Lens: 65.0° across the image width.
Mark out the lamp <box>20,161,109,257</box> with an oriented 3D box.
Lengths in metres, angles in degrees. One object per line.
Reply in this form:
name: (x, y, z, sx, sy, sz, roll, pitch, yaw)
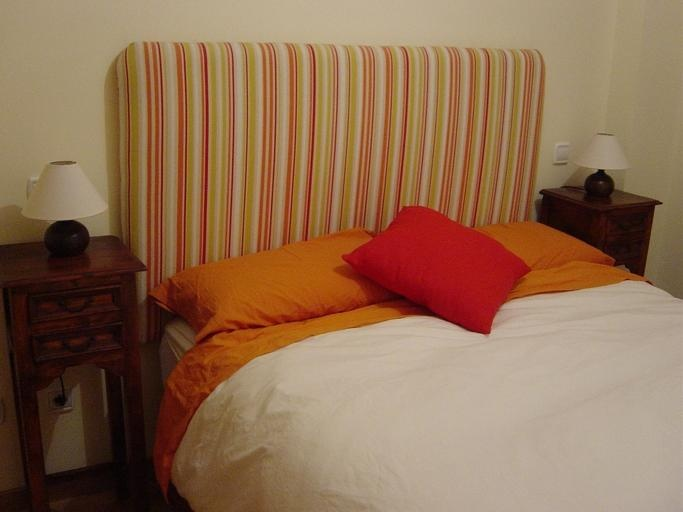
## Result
lamp: (-1.067, -0.178, 2.066, 0.237, 0.363, 0.203, 7, 15, 24)
